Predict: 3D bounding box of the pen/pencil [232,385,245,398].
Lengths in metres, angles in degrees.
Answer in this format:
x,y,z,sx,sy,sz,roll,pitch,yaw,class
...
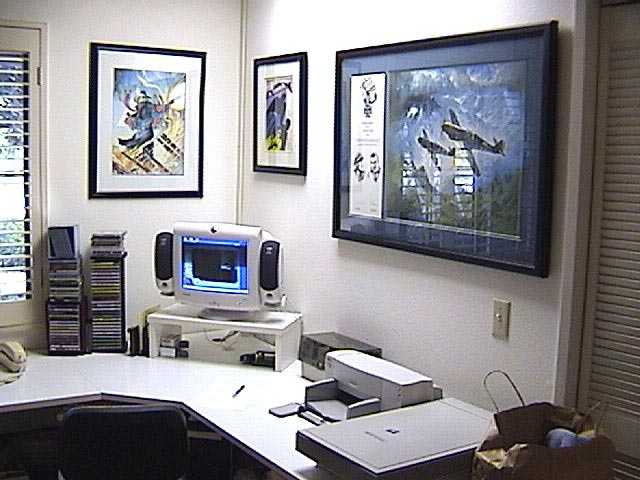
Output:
x,y,z,sx,sy,sz,roll,pitch,yaw,class
-0.393,0.724,2.514,0.016,0.024,0.084,13,20,9,pen/pencil

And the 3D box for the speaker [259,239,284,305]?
x,y,z,sx,sy,sz,roll,pitch,yaw,class
-0.261,0.165,2.774,0.137,0.424,0.288,0,8,1,speaker

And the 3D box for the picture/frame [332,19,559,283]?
x,y,z,sx,sy,sz,roll,pitch,yaw,class
0.560,-0.392,2.234,0.080,0.971,1.169,-4,9,-44,picture/frame

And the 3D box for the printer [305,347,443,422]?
x,y,z,sx,sy,sz,roll,pitch,yaw,class
0.212,0.643,2.214,0.396,0.210,0.510,-10,13,-42,printer

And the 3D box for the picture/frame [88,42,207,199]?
x,y,z,sx,sy,sz,roll,pitch,yaw,class
-1.083,-0.757,3.183,0.889,1.256,0.050,-2,9,-22,picture/frame

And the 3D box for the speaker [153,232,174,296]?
x,y,z,sx,sy,sz,roll,pitch,yaw,class
-0.881,0.131,2.923,0.133,0.360,0.048,0,8,9,speaker
